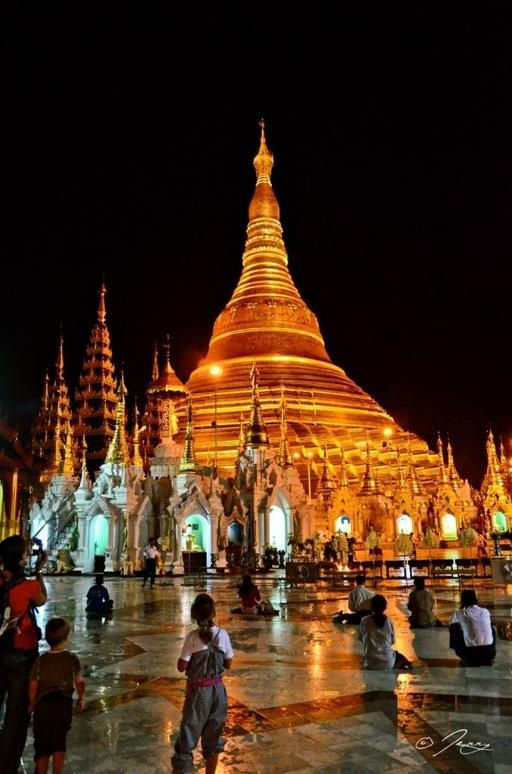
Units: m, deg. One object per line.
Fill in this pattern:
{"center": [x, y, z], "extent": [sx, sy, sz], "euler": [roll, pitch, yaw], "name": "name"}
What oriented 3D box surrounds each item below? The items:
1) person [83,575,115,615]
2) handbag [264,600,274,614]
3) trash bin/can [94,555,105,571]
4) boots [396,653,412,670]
{"center": [-2.647, 3.552, 10.066], "extent": [0.441, 0.654, 1.014], "euler": [3, -18, -13], "name": "person"}
{"center": [0.232, 3.795, 10.110], "extent": [0.153, 0.230, 0.224], "euler": [-1, 27, 1], "name": "handbag"}
{"center": [-5.830, 6.594, 22.062], "extent": [0.371, 0.582, 0.763], "euler": [4, -18, -16], "name": "trash bin/can"}
{"center": [1.402, 2.583, 5.586], "extent": [0.120, 0.139, 0.118], "euler": [-4, -12, 8], "name": "boots"}
